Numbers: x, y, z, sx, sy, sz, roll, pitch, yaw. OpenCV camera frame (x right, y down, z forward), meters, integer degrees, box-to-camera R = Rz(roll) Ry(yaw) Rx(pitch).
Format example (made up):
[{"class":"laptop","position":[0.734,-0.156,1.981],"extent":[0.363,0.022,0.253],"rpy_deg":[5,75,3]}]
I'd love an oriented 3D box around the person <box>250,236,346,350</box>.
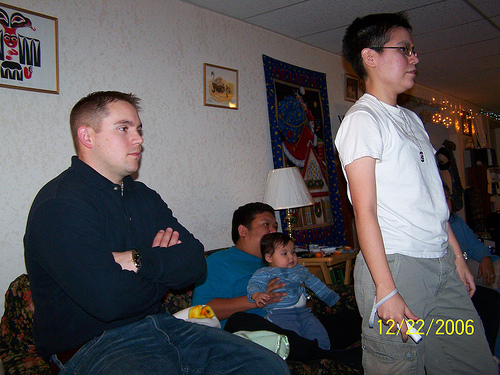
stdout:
[{"class":"person","position":[0.334,0.795,2.633],"extent":[0.567,0.944,0.284],"rpy_deg":[-12,5,-5]}]

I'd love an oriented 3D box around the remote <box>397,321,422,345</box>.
[{"class":"remote","position":[0.610,0.548,1.406],"extent":[0.022,0.091,0.053],"rpy_deg":[-45,-20,3]}]

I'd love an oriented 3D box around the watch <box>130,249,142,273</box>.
[{"class":"watch","position":[-0.528,0.338,1.716],"extent":[0.020,0.072,0.074],"rpy_deg":[-7,16,-16]}]

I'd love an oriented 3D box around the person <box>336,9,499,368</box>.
[{"class":"person","position":[0.679,-0.010,1.562],"extent":[0.582,1.568,0.436],"rpy_deg":[-4,4,-6]}]

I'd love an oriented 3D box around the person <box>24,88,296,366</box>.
[{"class":"person","position":[-0.587,0.176,1.812],"extent":[0.962,1.357,0.531],"rpy_deg":[-5,4,-10]}]

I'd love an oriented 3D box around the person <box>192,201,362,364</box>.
[{"class":"person","position":[0.182,0.653,2.547],"extent":[1.013,1.047,0.817],"rpy_deg":[-10,-21,28]}]

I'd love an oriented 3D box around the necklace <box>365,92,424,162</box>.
[{"class":"necklace","position":[0.644,-0.274,1.617],"extent":[0.224,0.333,0.114],"rpy_deg":[-3,4,19]}]
